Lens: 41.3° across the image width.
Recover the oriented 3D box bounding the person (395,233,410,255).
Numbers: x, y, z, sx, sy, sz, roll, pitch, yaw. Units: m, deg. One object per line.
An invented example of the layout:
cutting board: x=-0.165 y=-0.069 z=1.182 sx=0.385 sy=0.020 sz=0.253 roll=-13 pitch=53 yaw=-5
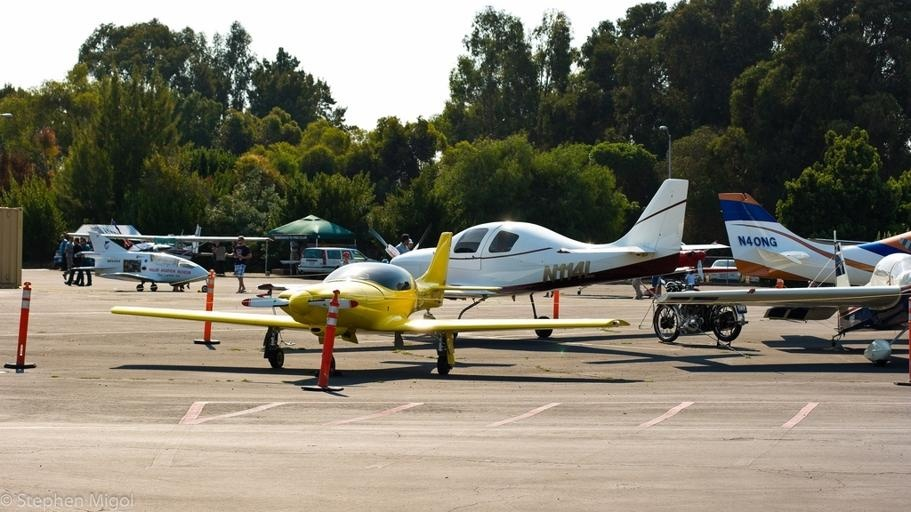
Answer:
person: x=-3.282 y=-0.754 z=74.061 sx=0.740 sy=0.990 sz=1.347 roll=-16 pitch=34 yaw=-13
